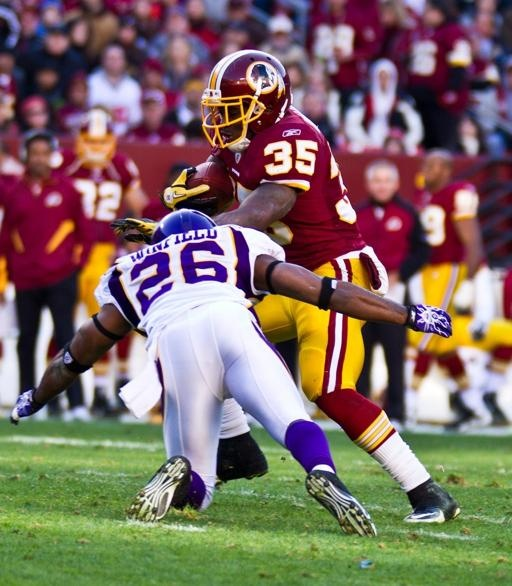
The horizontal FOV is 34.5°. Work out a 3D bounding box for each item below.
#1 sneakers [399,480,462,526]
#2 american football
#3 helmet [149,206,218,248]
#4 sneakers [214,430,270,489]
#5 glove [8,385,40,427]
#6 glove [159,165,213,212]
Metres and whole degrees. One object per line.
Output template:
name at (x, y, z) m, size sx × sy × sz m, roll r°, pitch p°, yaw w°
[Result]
sneakers at (0.507, 0.633, 2.429) m, size 0.161 × 0.120 × 0.135 m, roll -35°, pitch 69°, yaw -11°
american football at (-0.208, -0.367, 2.841) m, size 0.278 × 0.180 × 0.176 m, roll 5°, pitch 90°, yaw -1°
helmet at (-0.216, -0.199, 2.379) m, size 0.194 × 0.123 × 0.125 m, roll -10°, pitch 67°, yaw -1°
sneakers at (-0.052, 0.566, 2.821) m, size 0.270 × 0.103 × 0.141 m, roll -10°, pitch 92°, yaw -6°
glove at (-0.727, 0.356, 2.673) m, size 0.088 × 0.179 × 0.062 m, roll -40°, pitch 101°, yaw 14°
glove at (-0.266, -0.350, 2.811) m, size 0.229 × 0.121 × 0.125 m, roll 6°, pitch 68°, yaw 0°
